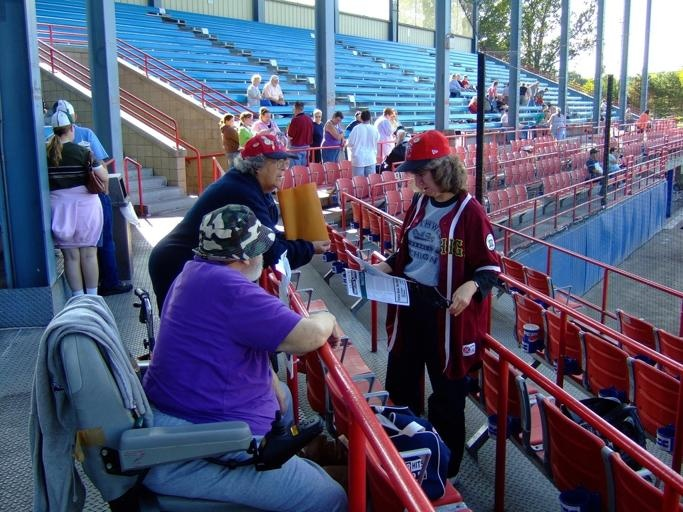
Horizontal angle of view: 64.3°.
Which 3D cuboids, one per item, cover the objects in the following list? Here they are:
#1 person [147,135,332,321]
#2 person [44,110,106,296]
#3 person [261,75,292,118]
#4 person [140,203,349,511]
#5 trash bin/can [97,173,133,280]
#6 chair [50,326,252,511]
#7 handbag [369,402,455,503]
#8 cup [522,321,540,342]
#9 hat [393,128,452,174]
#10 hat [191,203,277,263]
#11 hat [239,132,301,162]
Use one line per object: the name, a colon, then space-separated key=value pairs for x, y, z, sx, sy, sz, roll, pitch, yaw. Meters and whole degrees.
person: x=-0.595 y=0.048 z=3.460 sx=0.969 sy=1.571 sz=0.678 roll=3 pitch=8 yaw=-3
person: x=-2.629 y=-0.411 z=5.497 sx=0.601 sy=1.558 sz=0.208 roll=-2 pitch=13 yaw=-5
person: x=-1.858 y=-4.488 z=15.031 sx=0.655 sy=0.975 sz=0.761 roll=-5 pitch=18 yaw=-30
person: x=-0.517 y=0.327 z=3.168 sx=1.180 sy=2.217 sz=0.907 roll=-1 pitch=10 yaw=-25
trash bin/can: x=-2.601 y=-0.306 z=6.186 sx=0.426 sy=1.283 sz=0.749 roll=-8 pitch=24 yaw=-25
chair: x=-0.836 y=0.677 z=2.547 sx=0.705 sy=0.974 sz=0.647 roll=-3 pitch=0 yaw=-19
handbag: x=0.335 y=0.866 z=2.659 sx=0.442 sy=0.502 sz=0.317 roll=1 pitch=24 yaw=-20
cup: x=1.968 y=0.776 z=5.632 sx=0.131 sy=0.151 sz=0.141 roll=1 pitch=2 yaw=0
hat: x=0.543 y=-0.651 z=3.248 sx=0.354 sy=0.201 sz=0.246 roll=0 pitch=5 yaw=-21
hat: x=-0.501 y=-0.141 z=2.504 sx=0.380 sy=0.220 sz=0.313 roll=-14 pitch=29 yaw=-17
hat: x=-0.464 y=-0.654 z=3.266 sx=0.261 sy=0.116 sz=0.177 roll=-4 pitch=21 yaw=-18
